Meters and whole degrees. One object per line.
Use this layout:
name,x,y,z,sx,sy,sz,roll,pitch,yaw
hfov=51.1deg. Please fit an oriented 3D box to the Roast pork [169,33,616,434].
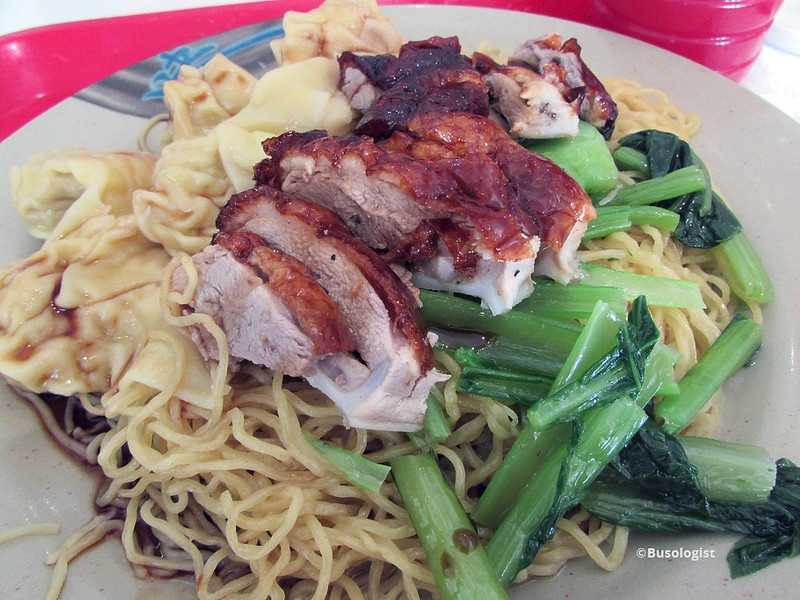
Roast pork,0.036,-0.738,5.558,3.172,2.038,2.684,10,20,39
